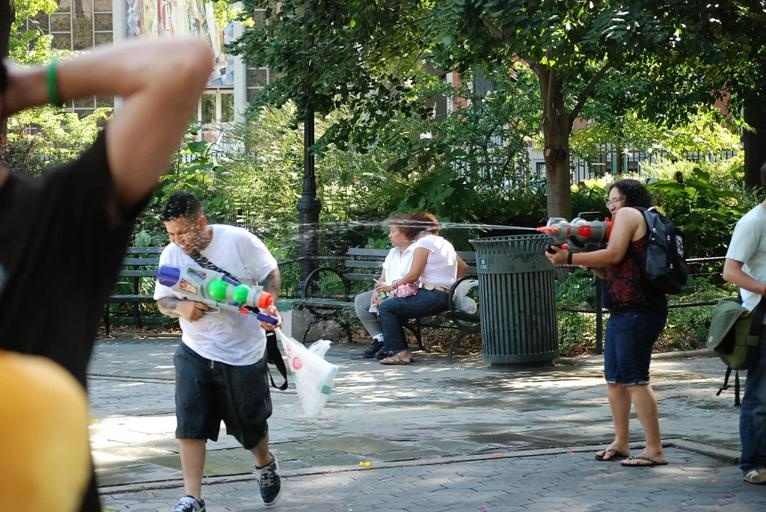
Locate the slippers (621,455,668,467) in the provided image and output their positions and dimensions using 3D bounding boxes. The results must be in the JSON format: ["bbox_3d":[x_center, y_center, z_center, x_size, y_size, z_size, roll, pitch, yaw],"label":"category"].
[{"bbox_3d":[1.794,1.414,6.391,0.233,0.043,0.098,2,-7,-2],"label":"slippers"}]

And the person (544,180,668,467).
[{"bbox_3d":[1.683,0.442,6.555,0.577,2.031,0.596,1,-8,-32],"label":"person"}]

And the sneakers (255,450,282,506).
[{"bbox_3d":[-0.696,1.375,5.732,0.129,0.301,0.137,-18,-19,22],"label":"sneakers"}]

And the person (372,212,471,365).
[{"bbox_3d":[0.430,0.355,11.106,1.027,1.840,0.618,-3,-6,1],"label":"person"}]

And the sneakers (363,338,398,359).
[{"bbox_3d":[-0.044,1.157,11.397,0.487,0.177,0.178,1,0,37],"label":"sneakers"}]

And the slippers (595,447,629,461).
[{"bbox_3d":[1.615,1.400,6.569,0.240,0.051,0.090,2,-2,-14],"label":"slippers"}]

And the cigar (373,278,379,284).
[{"bbox_3d":[-0.100,0.321,12.115,0.040,0.042,0.116,2,-22,-2],"label":"cigar"}]

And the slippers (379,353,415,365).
[{"bbox_3d":[0.163,1.203,10.947,0.424,0.144,0.136,0,-9,-1],"label":"slippers"}]
